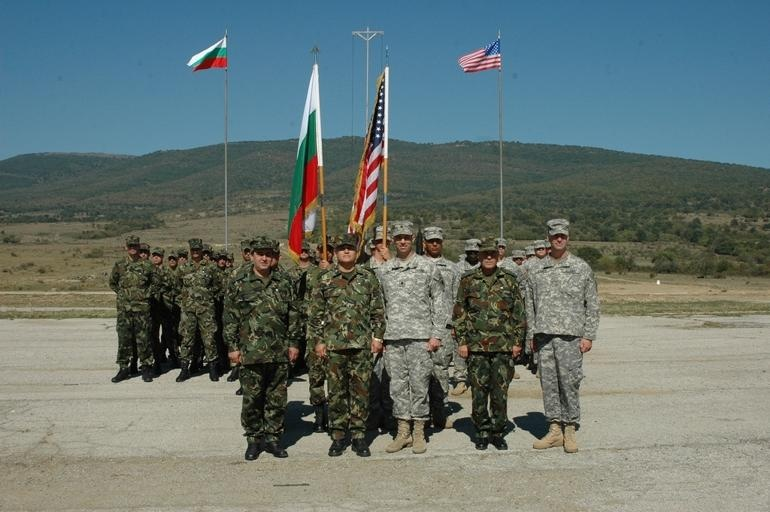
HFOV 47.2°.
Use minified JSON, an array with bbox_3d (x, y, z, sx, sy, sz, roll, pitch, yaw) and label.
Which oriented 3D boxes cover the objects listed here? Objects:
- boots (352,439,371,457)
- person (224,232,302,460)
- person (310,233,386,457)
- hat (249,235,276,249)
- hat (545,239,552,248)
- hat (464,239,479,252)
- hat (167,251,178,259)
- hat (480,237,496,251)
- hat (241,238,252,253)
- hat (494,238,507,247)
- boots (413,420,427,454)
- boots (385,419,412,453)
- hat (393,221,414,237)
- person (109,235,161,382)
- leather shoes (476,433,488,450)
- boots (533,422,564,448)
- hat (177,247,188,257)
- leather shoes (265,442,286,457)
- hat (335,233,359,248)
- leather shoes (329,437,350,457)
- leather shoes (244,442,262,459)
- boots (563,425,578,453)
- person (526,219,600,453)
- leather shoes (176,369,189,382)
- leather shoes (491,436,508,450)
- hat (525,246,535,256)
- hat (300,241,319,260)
[{"bbox_3d":[-0.410,3.341,15.526,0.381,0.260,0.283,2,11,9],"label":"boots"},{"bbox_3d":[-2.123,1.568,15.484,1.293,3.741,1.059,-2,12,-10],"label":"person"},{"bbox_3d":[-0.649,1.568,15.581,1.310,3.696,1.089,0,11,-1],"label":"person"},{"bbox_3d":[-2.132,-0.236,15.553,0.385,0.227,0.304,-1,11,-7],"label":"hat"},{"bbox_3d":[3.432,-0.266,18.338,0.158,0.197,0.182,-3,-3,6],"label":"hat"},{"bbox_3d":[1.884,-0.227,18.807,0.490,0.200,0.665,0,4,2],"label":"hat"},{"bbox_3d":[-6.425,-0.051,26.677,0.265,0.181,0.373,-5,2,9],"label":"hat"},{"bbox_3d":[1.868,-0.205,15.746,0.251,0.133,0.359,0,3,5],"label":"hat"},{"bbox_3d":[-2.973,-0.213,18.986,0.247,0.187,0.373,2,-6,-7],"label":"hat"},{"bbox_3d":[2.571,-0.293,19.204,0.310,0.133,0.435,2,-6,4],"label":"hat"},{"bbox_3d":[0.608,3.191,15.671,0.262,0.516,0.571,-3,8,5],"label":"boots"},{"bbox_3d":[0.259,3.184,15.732,0.603,0.527,0.260,-11,10,-36],"label":"boots"},{"bbox_3d":[0.342,-0.480,15.818,0.348,0.163,0.470,0,13,1],"label":"hat"},{"bbox_3d":[-5.512,1.173,19.365,1.017,3.105,1.193,-3,12,-14],"label":"person"},{"bbox_3d":[1.771,3.258,15.730,0.235,0.255,0.330,2,11,9],"label":"leather shoes"},{"bbox_3d":[2.955,3.167,15.728,0.540,0.430,0.352,2,11,9],"label":"boots"},{"bbox_3d":[-5.060,-0.108,22.040,0.280,0.113,0.396,0,6,-5],"label":"hat"},{"bbox_3d":[-1.899,3.353,15.485,0.430,0.246,0.297,1,11,1],"label":"leather shoes"},{"bbox_3d":[-0.688,-0.281,16.174,0.353,0.165,0.493,0,0,0],"label":"hat"},{"bbox_3d":[-0.774,3.299,15.659,0.263,0.272,0.610,5,12,23],"label":"leather shoes"},{"bbox_3d":[-2.308,3.355,15.443,0.262,0.269,0.412,1,11,4],"label":"leather shoes"},{"bbox_3d":[3.322,3.192,15.592,0.249,0.432,0.305,-1,11,-4],"label":"boots"},{"bbox_3d":[3.210,1.377,15.759,1.139,3.937,1.323,-3,12,-16],"label":"person"},{"bbox_3d":[-4.469,2.607,19.435,0.242,0.255,0.502,0,11,-2],"label":"leather shoes"},{"bbox_3d":[2.086,3.289,15.709,0.275,0.210,0.241,0,11,-1],"label":"leather shoes"},{"bbox_3d":[3.582,-0.129,21.491,0.265,0.128,0.414,1,1,9],"label":"hat"},{"bbox_3d":[-1.647,-0.189,19.760,0.474,0.220,0.695,1,-7,1],"label":"hat"}]
